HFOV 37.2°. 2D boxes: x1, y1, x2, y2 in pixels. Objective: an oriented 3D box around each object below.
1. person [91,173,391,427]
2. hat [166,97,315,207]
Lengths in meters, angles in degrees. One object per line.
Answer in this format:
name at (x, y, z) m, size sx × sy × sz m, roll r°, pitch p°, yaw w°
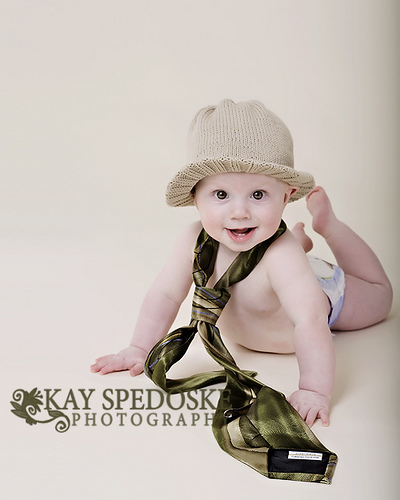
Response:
person at (0.234, 0.034, 1.775) m, size 0.600 × 0.405 × 0.889 m, roll 7°, pitch 16°, yaw 30°
hat at (0.085, -0.267, 1.532) m, size 0.404 × 0.265 × 0.296 m, roll -1°, pitch -3°, yaw 8°
